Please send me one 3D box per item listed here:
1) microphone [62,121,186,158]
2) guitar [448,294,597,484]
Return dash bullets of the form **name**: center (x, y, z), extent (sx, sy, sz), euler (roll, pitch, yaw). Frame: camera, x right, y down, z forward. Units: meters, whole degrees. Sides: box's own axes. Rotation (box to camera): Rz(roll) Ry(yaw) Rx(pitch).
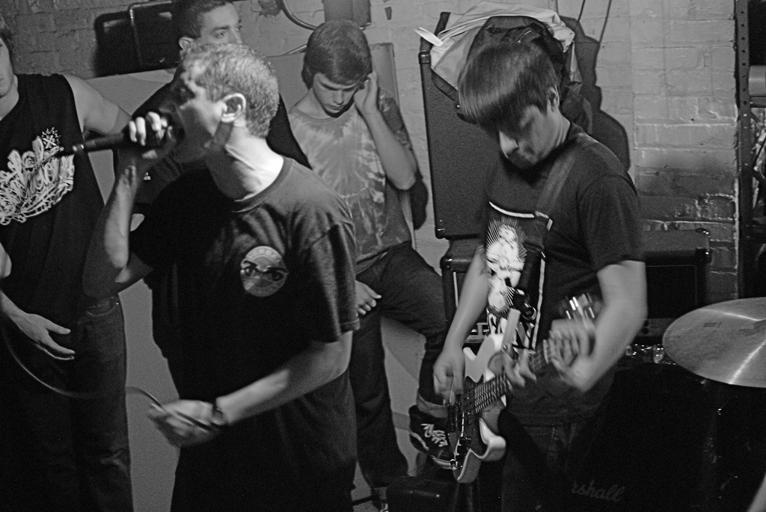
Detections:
- **microphone**: center (-1.143, -0.526, 3.240), extent (0.408, 0.104, 0.108), euler (-11, -5, 8)
- **guitar**: center (0.718, 0.513, 3.277), extent (0.650, 0.145, 1.265), euler (0, 26, 19)
